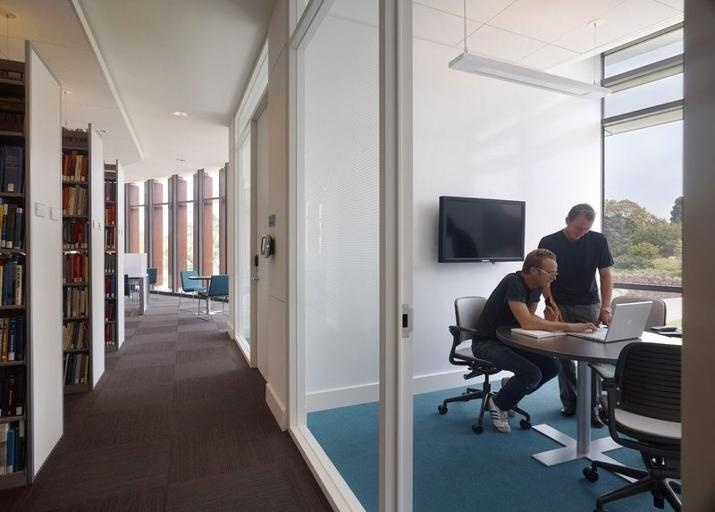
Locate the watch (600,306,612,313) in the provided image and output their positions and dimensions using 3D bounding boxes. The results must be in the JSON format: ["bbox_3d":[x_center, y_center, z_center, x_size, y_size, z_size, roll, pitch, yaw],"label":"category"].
[{"bbox_3d":[2.351,0.505,4.626,0.083,0.042,0.086,-1,2,-9],"label":"watch"}]

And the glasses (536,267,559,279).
[{"bbox_3d":[1.739,0.126,4.449,0.122,0.042,0.125,12,10,-35],"label":"glasses"}]

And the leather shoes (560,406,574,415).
[{"bbox_3d":[2.133,1.575,4.975,0.150,0.067,0.054,-2,3,-37],"label":"leather shoes"}]

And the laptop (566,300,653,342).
[{"bbox_3d":[2.146,0.503,4.011,0.415,0.268,0.395,0,-3,-25],"label":"laptop"}]

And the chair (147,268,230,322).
[{"bbox_3d":[-3.430,0.777,11.017,0.905,1.003,2.734,0,-1,-42],"label":"chair"}]
